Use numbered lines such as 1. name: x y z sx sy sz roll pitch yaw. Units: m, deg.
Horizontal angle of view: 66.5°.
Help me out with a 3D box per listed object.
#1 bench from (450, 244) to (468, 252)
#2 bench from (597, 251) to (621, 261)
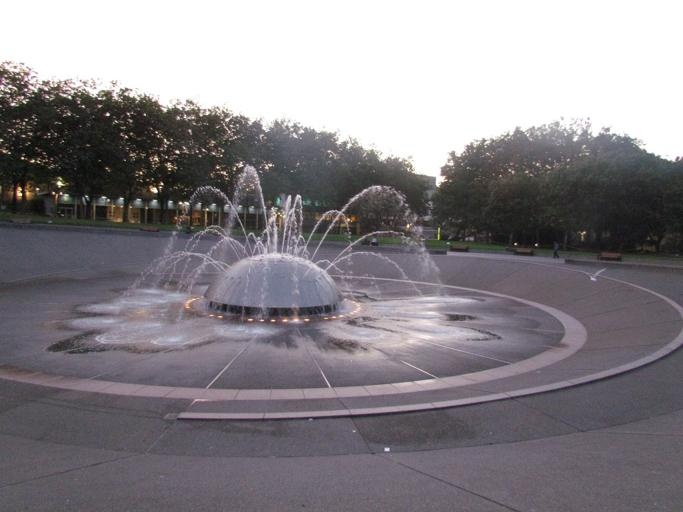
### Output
1. bench: 8.476 -0.508 38.082 1.375 0.389 1.454 1 8 -5
2. bench: 16.085 0.088 31.503 0.931 0.477 1.471 3 8 11
